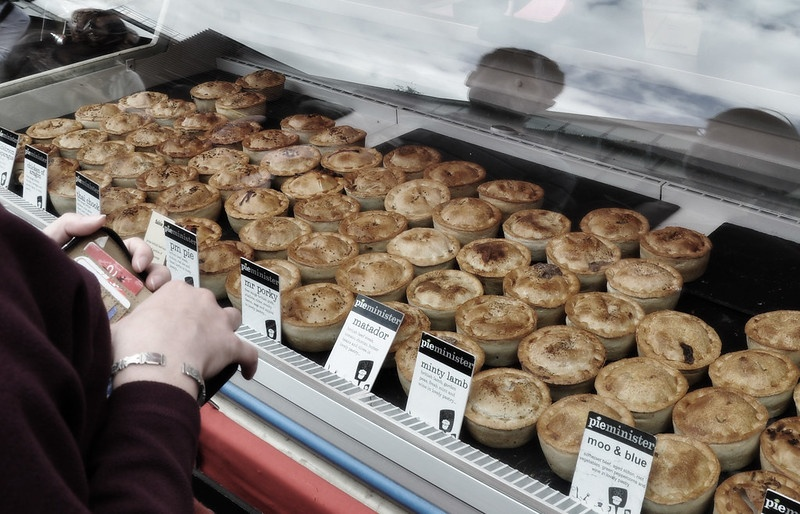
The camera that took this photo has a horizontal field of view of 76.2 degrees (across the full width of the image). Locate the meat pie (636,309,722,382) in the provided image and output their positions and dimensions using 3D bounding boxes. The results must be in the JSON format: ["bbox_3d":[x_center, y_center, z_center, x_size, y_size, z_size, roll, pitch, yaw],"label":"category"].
[{"bbox_3d":[1.188,0.364,2.278,0.367,0.155,0.278,-22,69,-22],"label":"meat pie"}]

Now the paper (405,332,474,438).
[{"bbox_3d":[0.148,0.480,1.902,0.276,0.387,0.170,20,43,20],"label":"paper"}]

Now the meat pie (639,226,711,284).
[{"bbox_3d":[1.300,-0.012,2.577,0.399,0.173,0.286,0,40,6],"label":"meat pie"}]

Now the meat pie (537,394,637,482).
[{"bbox_3d":[0.755,0.659,1.969,0.378,0.188,0.327,-16,19,32],"label":"meat pie"}]

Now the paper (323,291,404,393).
[{"bbox_3d":[-0.154,0.355,2.098,0.246,0.362,0.221,27,45,26],"label":"paper"}]
